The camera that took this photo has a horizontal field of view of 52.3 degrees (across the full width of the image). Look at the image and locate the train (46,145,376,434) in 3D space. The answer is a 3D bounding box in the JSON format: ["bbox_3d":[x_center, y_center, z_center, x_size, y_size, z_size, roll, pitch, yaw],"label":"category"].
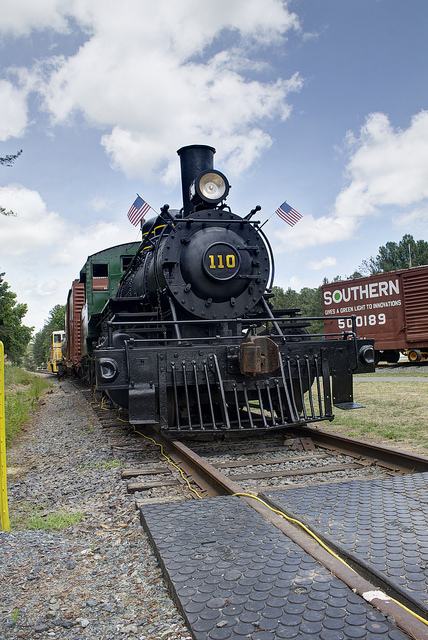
[{"bbox_3d":[-1.310,-0.516,9.265,3.282,3.814,9.788,0,1,-23],"label":"train"}]
